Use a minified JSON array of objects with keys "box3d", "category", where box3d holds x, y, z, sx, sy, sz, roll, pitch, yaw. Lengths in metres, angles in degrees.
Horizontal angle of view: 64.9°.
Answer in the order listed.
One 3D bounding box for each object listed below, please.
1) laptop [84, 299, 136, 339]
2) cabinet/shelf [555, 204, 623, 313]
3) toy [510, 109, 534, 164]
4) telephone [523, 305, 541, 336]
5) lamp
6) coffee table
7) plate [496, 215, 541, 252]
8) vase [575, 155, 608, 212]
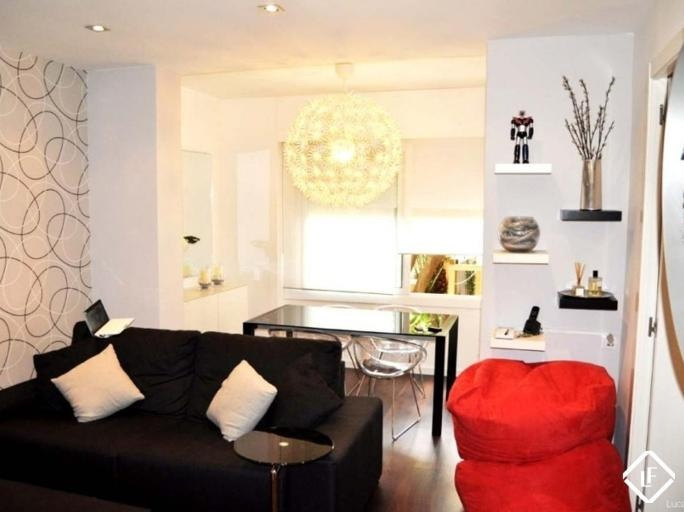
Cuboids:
[{"box3d":[-1.913,0.554,4.421,0.297,0.244,0.392,4,15,2],"category":"laptop"},{"box3d":[1.854,0.050,4.049,0.416,0.797,0.387,2,6,27],"category":"cabinet/shelf"},{"box3d":[1.385,-0.913,4.155,0.177,0.414,0.230,1,6,18],"category":"toy"},{"box3d":[1.486,0.517,4.214,0.163,0.209,0.106,-6,8,-44],"category":"telephone"},{"box3d":[-0.005,-0.960,4.461,0.945,1.300,0.953,1,3,4],"category":"lamp"},{"box3d":[-0.330,1.113,3.108,0.460,0.552,0.474,1,-1,8],"category":"coffee table"},{"box3d":[1.328,-0.157,4.049,0.280,0.271,0.126,1,6,17],"category":"plate"},{"box3d":[1.845,-0.526,3.994,0.135,0.379,0.186,2,6,23],"category":"vase"}]
